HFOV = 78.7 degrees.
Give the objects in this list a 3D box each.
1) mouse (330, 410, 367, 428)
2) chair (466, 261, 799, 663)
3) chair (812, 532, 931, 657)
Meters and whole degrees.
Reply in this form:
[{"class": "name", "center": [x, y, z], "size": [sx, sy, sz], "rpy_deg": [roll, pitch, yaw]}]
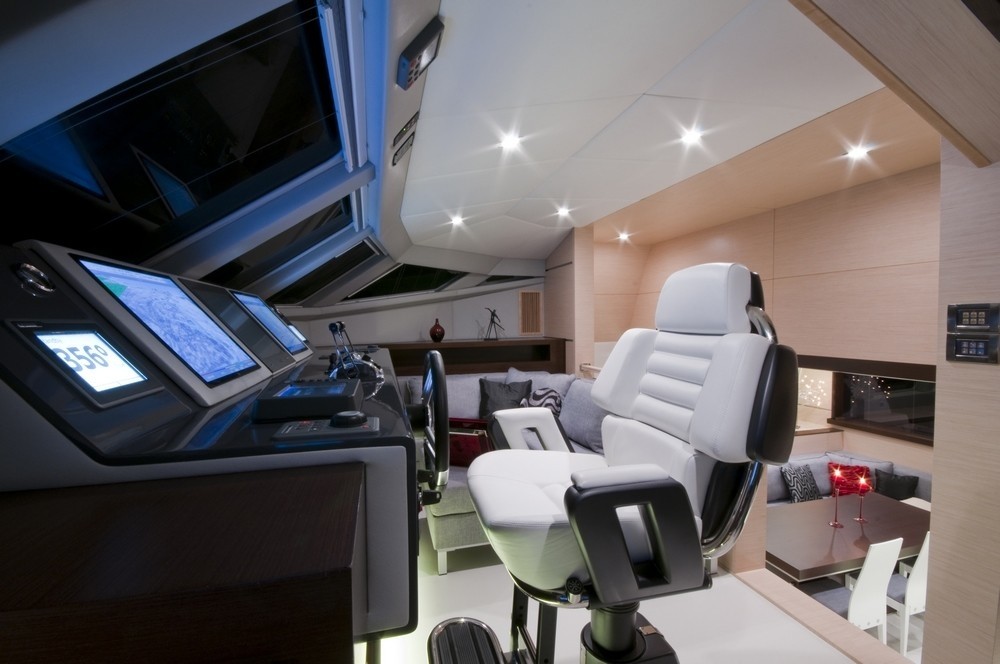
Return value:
[{"class": "mouse", "center": [-0.448, 0.257, 1.785], "size": [0.099, 0.046, 0.042], "rpy_deg": [-2, 0, -18]}, {"class": "chair", "center": [0.444, 0.465, 2.864], "size": [1.468, 1.911, 1.489], "rpy_deg": [2, 1, -7]}, {"class": "chair", "center": [2.266, 1.546, 3.714], "size": [0.889, 0.586, 0.520], "rpy_deg": [-2, 1, -37]}]
